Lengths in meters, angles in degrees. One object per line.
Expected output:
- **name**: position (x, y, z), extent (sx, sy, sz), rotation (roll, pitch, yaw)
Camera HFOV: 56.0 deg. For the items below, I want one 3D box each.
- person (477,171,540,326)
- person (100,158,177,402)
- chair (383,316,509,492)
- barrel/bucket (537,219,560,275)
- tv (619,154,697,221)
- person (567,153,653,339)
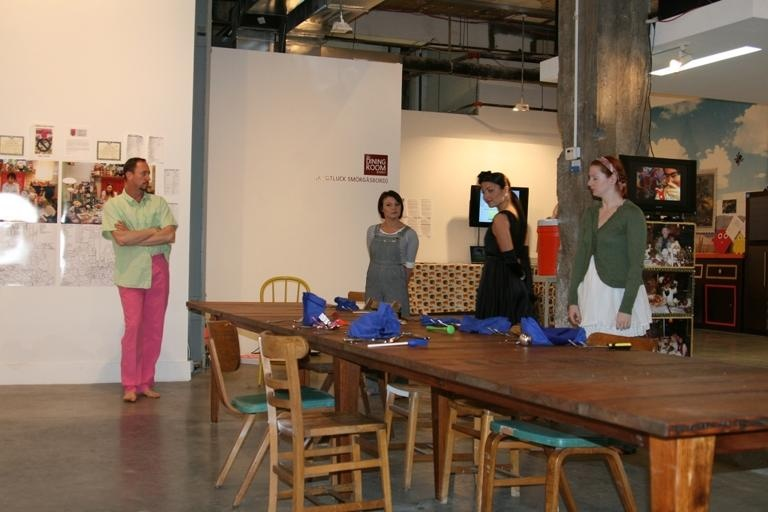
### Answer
- **person**: position (1.024, -0.061, 5.990), extent (0.508, 1.234, 0.453), rotation (2, 7, 10)
- **person**: position (-2.506, 0.221, 7.487), extent (0.694, 2.443, 0.533), rotation (-4, 8, -34)
- **chair**: position (0.455, 1.050, 5.324), extent (1.010, 1.324, 1.351), rotation (3, -1, -17)
- **barrel/bucket**: position (2.005, -0.092, 8.817), extent (0.212, 0.676, 0.464), rotation (1, 7, 7)
- **tv**: position (2.606, -0.643, 6.882), extent (0.714, 0.552, 0.190), rotation (1, -2, -15)
- **person**: position (1.689, -0.067, 5.384), extent (0.598, 1.337, 0.386), rotation (7, 9, 42)
